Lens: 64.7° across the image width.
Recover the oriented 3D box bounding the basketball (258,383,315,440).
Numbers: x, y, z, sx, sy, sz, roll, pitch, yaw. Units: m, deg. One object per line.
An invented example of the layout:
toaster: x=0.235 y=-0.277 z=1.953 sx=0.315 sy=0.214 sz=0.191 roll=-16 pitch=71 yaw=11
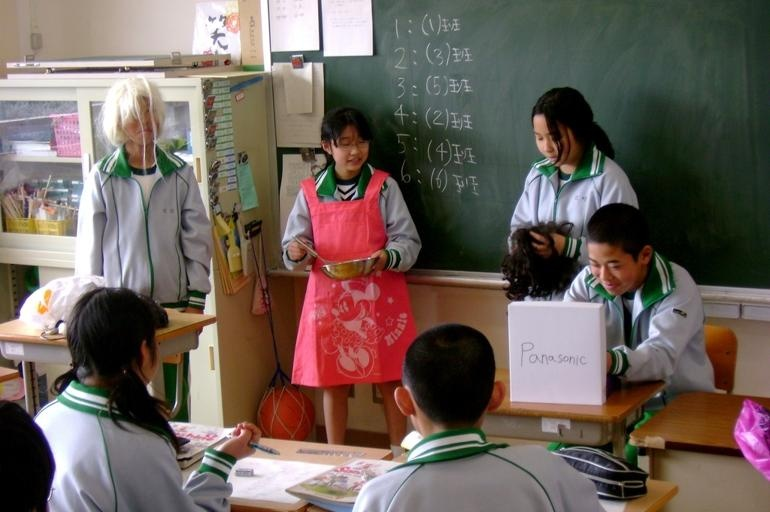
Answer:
basketball: x=-0.621 y=0.896 z=3.757 sx=0.313 sy=0.325 sz=0.314 roll=0 pitch=8 yaw=-28

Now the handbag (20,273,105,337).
handbag: x=-1.223 y=0.186 z=2.287 sx=0.186 sy=0.074 sz=0.165 roll=-31 pitch=53 yaw=-30

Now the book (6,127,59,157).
book: x=-2.235 y=-0.688 z=3.871 sx=0.382 sy=0.195 sz=0.087 roll=3 pitch=2 yaw=11
